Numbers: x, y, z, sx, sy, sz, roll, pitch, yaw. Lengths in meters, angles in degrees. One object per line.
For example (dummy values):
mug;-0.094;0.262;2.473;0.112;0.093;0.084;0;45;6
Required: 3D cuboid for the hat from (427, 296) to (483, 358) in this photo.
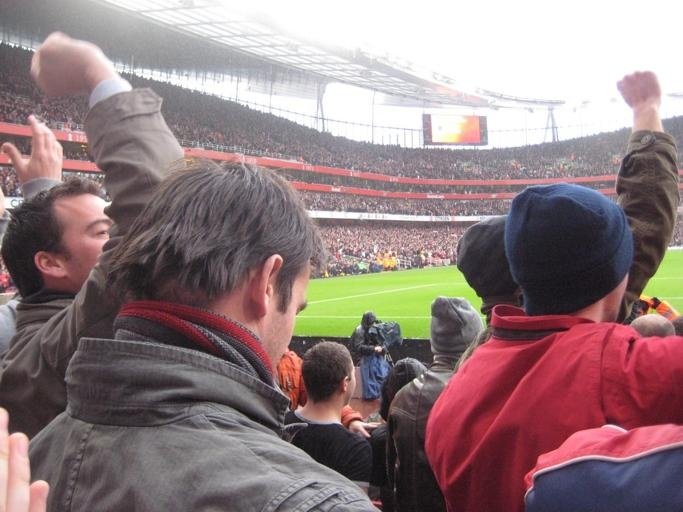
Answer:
hat;0.647;0.411;3.834;0.261;0.376;0.370;-2;-10;42
